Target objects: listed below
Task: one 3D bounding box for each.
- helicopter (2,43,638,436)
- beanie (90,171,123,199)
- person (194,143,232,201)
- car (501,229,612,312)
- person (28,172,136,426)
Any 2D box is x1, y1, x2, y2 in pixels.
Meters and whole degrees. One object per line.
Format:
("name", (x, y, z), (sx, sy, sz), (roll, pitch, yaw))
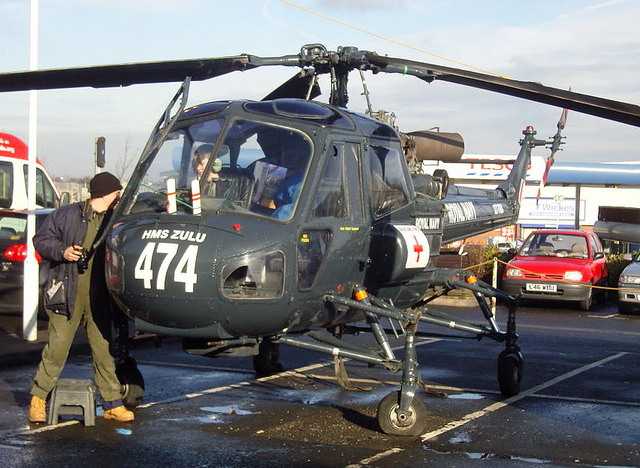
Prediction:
("helicopter", (0.791, -0.083, 8.082), (6.199, 1.806, 6.202), (1, 0, 35))
("beanie", (-2.212, -0.494, 6.711), (0.338, 0.269, 0.157), (0, 7, -24))
("person", (-1.065, -0.637, 6.500), (0.370, 0.575, 0.638), (1, 5, -12))
("car", (6.742, 0.533, 18.294), (2.332, 1.298, 3.593), (9, 27, 27))
("person", (-2.459, 0.656, 6.698), (0.982, 2.577, 0.583), (1, 7, -17))
